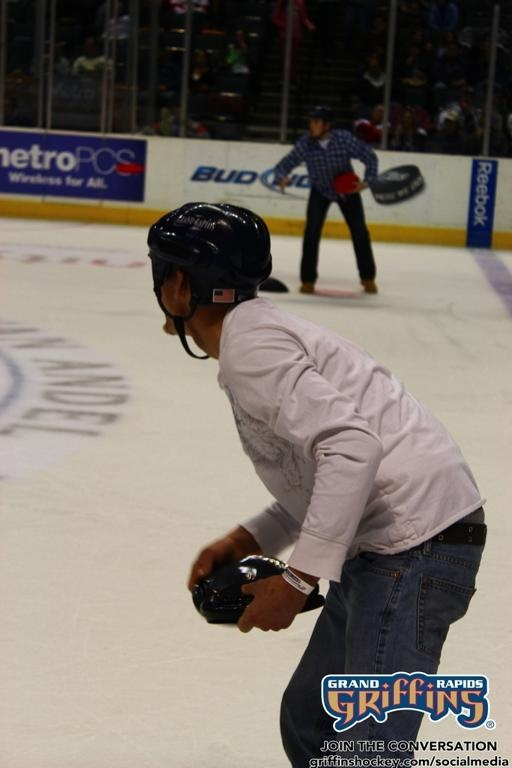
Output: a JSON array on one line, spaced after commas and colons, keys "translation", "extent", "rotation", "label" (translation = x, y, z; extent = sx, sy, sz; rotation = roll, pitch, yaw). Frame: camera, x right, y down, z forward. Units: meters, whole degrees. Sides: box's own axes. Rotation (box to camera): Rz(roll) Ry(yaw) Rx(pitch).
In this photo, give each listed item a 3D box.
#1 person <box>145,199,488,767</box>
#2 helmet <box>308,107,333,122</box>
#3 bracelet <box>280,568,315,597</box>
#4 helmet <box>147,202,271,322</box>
[{"translation": [0.070, 0.229, 1.075], "extent": [0.405, 0.932, 0.443], "rotation": [-2, 16, -20], "label": "person"}, {"translation": [0.659, -2.662, 7.458], "extent": [0.209, 0.148, 0.207], "rotation": [4, 14, 3], "label": "helmet"}, {"translation": [0.048, 0.235, 0.887], "extent": [0.040, 0.018, 0.032], "rotation": [30, -8, 46], "label": "bracelet"}, {"translation": [-0.064, -0.178, 1.067], "extent": [0.188, 0.150, 0.156], "rotation": [13, 24, 21], "label": "helmet"}]
